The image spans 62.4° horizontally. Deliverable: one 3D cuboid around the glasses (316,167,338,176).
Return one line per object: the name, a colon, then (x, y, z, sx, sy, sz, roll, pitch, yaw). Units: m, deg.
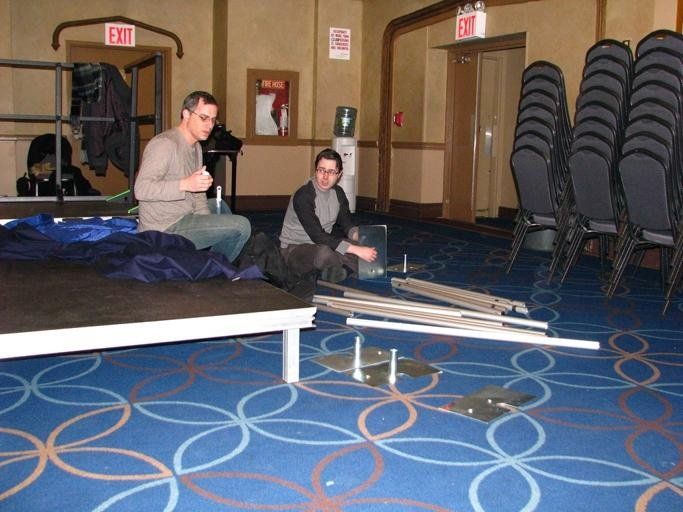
glasses: (-0.095, -0.639, 4.228, 0.163, 0.062, 0.078, 0, 13, -4)

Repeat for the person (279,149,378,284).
person: (-0.095, -0.321, 4.433, 0.891, 0.935, 0.721, 13, 24, 25)
